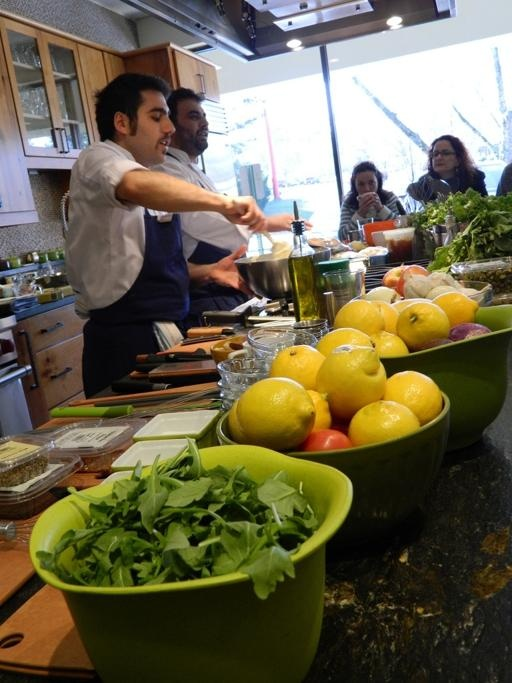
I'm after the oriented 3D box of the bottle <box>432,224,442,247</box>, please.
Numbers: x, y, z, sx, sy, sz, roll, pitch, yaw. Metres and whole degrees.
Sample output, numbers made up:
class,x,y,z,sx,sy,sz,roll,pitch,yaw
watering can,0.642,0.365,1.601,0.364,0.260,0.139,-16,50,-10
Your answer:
class,x,y,z,sx,sy,sz,roll,pitch,yaw
bottle,0.739,-0.436,2.019,0.028,0.092,0.133,-9,14,15

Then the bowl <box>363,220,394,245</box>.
class,x,y,z,sx,sy,sz,roll,pitch,yaw
bowl,0.625,-0.575,2.591,0.162,0.109,0.146,-1,12,2

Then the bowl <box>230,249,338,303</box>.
class,x,y,z,sx,sy,sz,roll,pitch,yaw
bowl,0.052,-0.215,1.629,0.232,0.104,0.215,-4,12,1

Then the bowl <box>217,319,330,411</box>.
class,x,y,z,sx,sy,sz,roll,pitch,yaw
bowl,0.013,0.020,0.780,0.149,0.101,0.158,-4,11,1

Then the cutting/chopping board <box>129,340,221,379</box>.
class,x,y,z,sx,sy,sz,roll,pitch,yaw
cutting/chopping board,-0.195,0.051,1.129,0.189,0.033,0.206,-12,14,-8

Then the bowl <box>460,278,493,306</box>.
class,x,y,z,sx,sy,sz,roll,pitch,yaw
bowl,0.403,-0.097,0.920,0.062,0.026,0.067,0,17,0

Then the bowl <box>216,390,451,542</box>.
class,x,y,z,sx,sy,sz,roll,pitch,yaw
bowl,0.073,0.093,0.446,0.156,0.071,0.145,-3,5,0

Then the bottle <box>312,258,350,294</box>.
class,x,y,z,sx,sy,sz,roll,pitch,yaw
bottle,0.176,-0.158,1.176,0.087,0.057,0.081,-2,6,0

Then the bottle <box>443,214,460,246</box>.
class,x,y,z,sx,sy,sz,roll,pitch,yaw
bottle,0.682,-0.398,1.732,0.046,0.096,0.131,-6,15,23

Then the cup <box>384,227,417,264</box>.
class,x,y,z,sx,sy,sz,roll,pitch,yaw
cup,0.619,-0.416,2.171,0.164,0.160,0.158,-5,5,0
